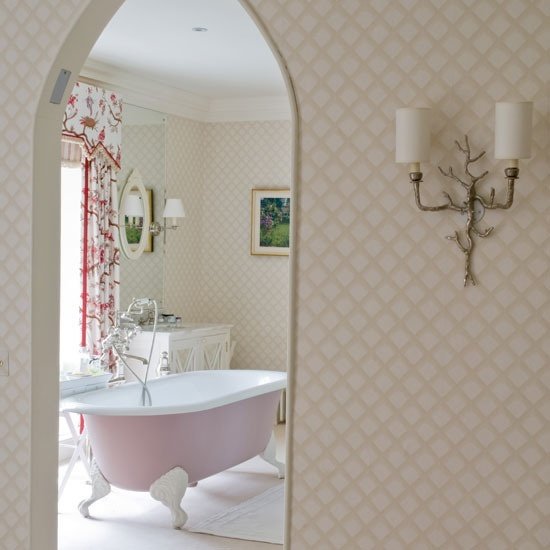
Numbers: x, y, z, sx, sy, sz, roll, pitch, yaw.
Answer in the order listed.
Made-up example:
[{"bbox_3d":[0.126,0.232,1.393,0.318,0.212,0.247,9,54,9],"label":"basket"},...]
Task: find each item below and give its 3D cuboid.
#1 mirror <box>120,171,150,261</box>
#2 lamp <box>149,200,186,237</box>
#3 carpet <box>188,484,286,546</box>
[{"bbox_3d":[-1.184,-0.505,5.331,0.094,0.760,0.403,2,1,19],"label":"mirror"},{"bbox_3d":[-0.948,-0.494,5.596,0.299,0.322,0.188,-3,2,12],"label":"lamp"},{"bbox_3d":[-0.119,1.453,3.754,0.589,0.024,0.630,2,1,25],"label":"carpet"}]
